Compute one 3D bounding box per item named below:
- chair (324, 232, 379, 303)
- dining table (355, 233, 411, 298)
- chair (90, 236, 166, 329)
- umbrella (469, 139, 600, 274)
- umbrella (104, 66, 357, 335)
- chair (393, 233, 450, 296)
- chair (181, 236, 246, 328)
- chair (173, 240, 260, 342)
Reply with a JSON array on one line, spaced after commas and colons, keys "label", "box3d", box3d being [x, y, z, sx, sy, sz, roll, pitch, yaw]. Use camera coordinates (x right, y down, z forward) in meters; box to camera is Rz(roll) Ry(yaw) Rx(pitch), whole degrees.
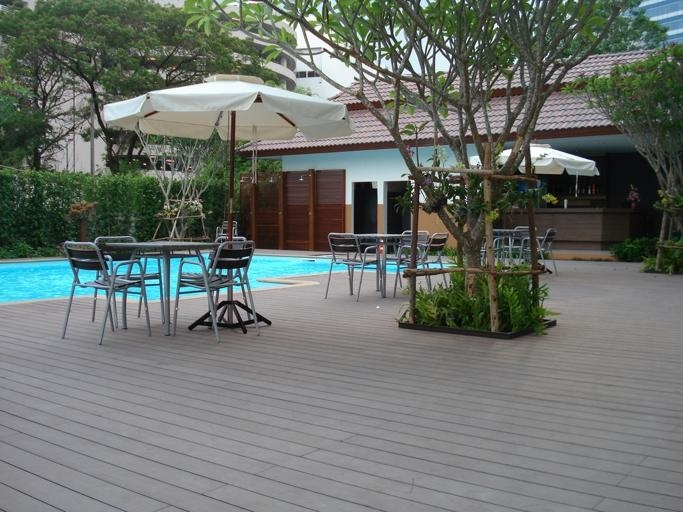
[{"label": "chair", "box3d": [0.202, 0.121, 8.429, 0.686, 1.049, 0.738, 2, 6, 25]}, {"label": "dining table", "box3d": [0.704, 0.105, 8.623, 0.842, 0.792, 0.628, -1, 3, 42]}, {"label": "chair", "box3d": [-2.454, 0.289, 5.971, 0.714, 1.123, 0.768, -1, 0, -4]}, {"label": "umbrella", "box3d": [4.686, -1.251, 12.933, 2.942, 1.897, 2.873, -6, 9, -42]}, {"label": "umbrella", "box3d": [-1.337, -0.776, 7.159, 3.208, 3.173, 3.354, 2, 5, 17]}, {"label": "chair", "box3d": [1.319, 0.125, 8.533, 0.670, 1.007, 0.705, -2, 4, -36]}, {"label": "chair", "box3d": [-1.373, 0.301, 5.614, 0.678, 1.018, 0.609, 7, 7, 31]}, {"label": "chair", "box3d": [-1.375, 0.329, 5.621, 0.822, 1.049, 0.820, 5, 7, 44]}]
